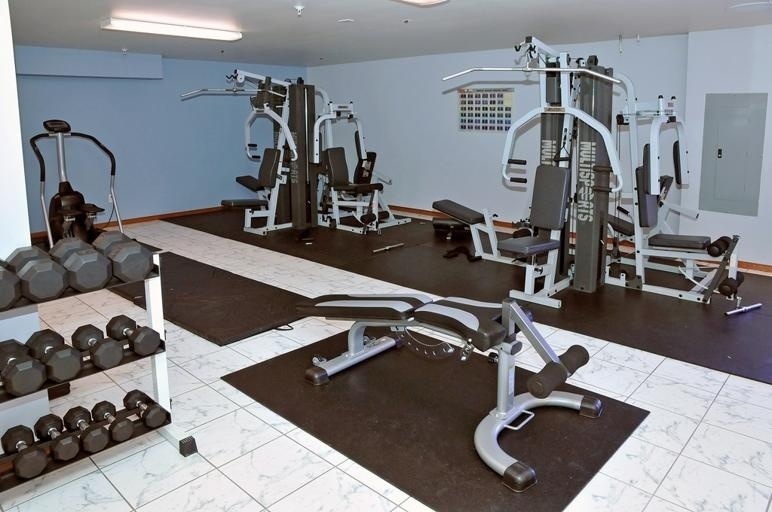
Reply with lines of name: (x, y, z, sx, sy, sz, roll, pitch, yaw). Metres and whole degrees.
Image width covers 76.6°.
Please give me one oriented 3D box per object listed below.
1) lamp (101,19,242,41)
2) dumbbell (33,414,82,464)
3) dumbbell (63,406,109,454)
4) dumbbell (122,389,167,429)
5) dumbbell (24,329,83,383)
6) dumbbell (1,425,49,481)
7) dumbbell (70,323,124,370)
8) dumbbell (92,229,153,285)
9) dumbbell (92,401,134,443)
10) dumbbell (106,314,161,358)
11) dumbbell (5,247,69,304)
lamp: (-2.374, -2.522, 5.445, 1.502, 0.120, 0.349, -1, 9, -18)
dumbbell: (-1.690, 0.925, 2.511, 0.380, 0.168, 0.176, 13, 6, 34)
dumbbell: (-1.598, 0.912, 2.599, 0.278, 0.123, 0.129, 20, 22, 34)
dumbbell: (-1.368, 0.855, 2.759, 0.261, 0.122, 0.180, 19, 21, 31)
dumbbell: (-1.701, 0.504, 2.504, 0.360, 0.162, 0.166, 15, 20, 38)
dumbbell: (-1.811, 0.987, 2.461, 0.265, 0.188, 0.148, 13, 23, 41)
dumbbell: (-1.524, 0.457, 2.555, 0.256, 0.214, 0.228, 16, 15, 33)
dumbbell: (-1.370, -0.025, 2.592, 0.216, 0.273, 0.262, 10, 14, 21)
dumbbell: (-1.488, 0.886, 2.651, 0.254, 0.112, 0.120, 22, 23, 32)
dumbbell: (-1.365, 0.403, 2.695, 0.264, 0.219, 0.233, -9, 18, -44)
dumbbell: (-1.667, 0.093, 2.334, 0.147, 0.158, 0.200, -38, 41, -23)
